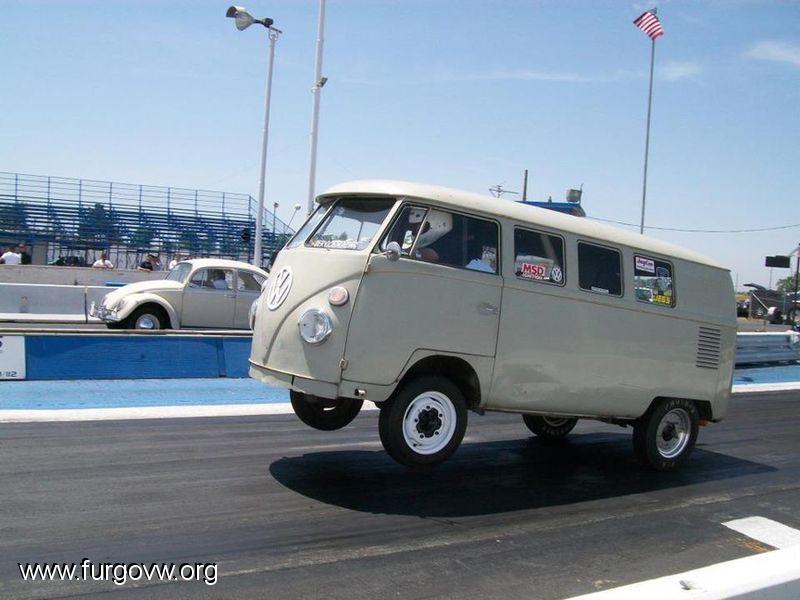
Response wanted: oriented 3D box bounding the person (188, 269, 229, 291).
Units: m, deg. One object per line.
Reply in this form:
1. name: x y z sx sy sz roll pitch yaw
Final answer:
1. person: -4.683 -0.492 15.814 0.734 0.391 0.444 -2 20 -13

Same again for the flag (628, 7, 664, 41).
1. flag: 14.254 -15.661 36.301 1.353 1.642 0.712 2 4 -16

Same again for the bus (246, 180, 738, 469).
1. bus: 1.302 0.434 7.655 5.757 3.372 0.995 2 4 -21
